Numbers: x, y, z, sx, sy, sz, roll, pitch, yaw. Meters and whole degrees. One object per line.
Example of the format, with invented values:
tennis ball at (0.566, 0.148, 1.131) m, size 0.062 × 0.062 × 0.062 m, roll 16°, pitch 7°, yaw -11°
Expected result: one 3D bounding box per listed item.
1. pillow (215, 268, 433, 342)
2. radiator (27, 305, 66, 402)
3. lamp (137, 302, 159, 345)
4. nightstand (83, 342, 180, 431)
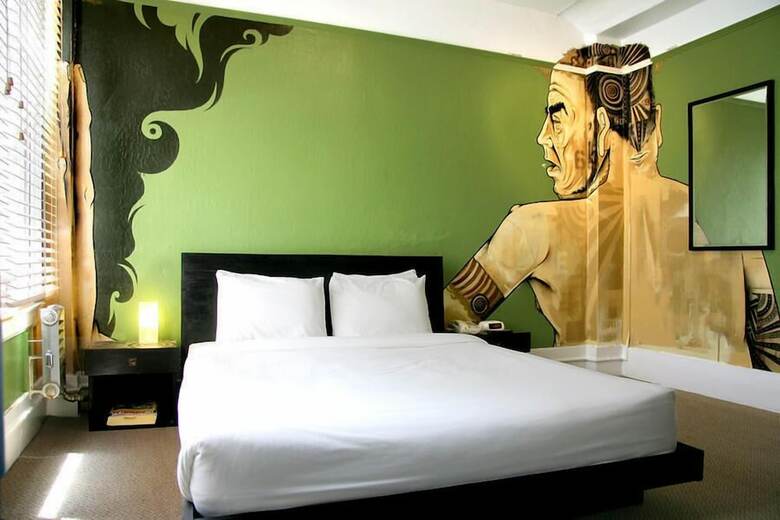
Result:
pillow at (-0.594, 0.376, 5.248) m, size 1.770 × 0.589 × 0.702 m, roll 5°, pitch 1°, yaw -28°
radiator at (-2.747, 0.774, 4.944) m, size 0.246 × 0.831 × 0.407 m, roll -3°, pitch 10°, yaw -22°
lamp at (-2.059, 0.532, 5.252) m, size 0.168 × 0.322 × 0.345 m, roll -4°, pitch 11°, yaw -23°
nightstand at (-2.133, 0.982, 5.182) m, size 0.661 × 0.693 × 0.671 m, roll 0°, pitch -2°, yaw -16°
